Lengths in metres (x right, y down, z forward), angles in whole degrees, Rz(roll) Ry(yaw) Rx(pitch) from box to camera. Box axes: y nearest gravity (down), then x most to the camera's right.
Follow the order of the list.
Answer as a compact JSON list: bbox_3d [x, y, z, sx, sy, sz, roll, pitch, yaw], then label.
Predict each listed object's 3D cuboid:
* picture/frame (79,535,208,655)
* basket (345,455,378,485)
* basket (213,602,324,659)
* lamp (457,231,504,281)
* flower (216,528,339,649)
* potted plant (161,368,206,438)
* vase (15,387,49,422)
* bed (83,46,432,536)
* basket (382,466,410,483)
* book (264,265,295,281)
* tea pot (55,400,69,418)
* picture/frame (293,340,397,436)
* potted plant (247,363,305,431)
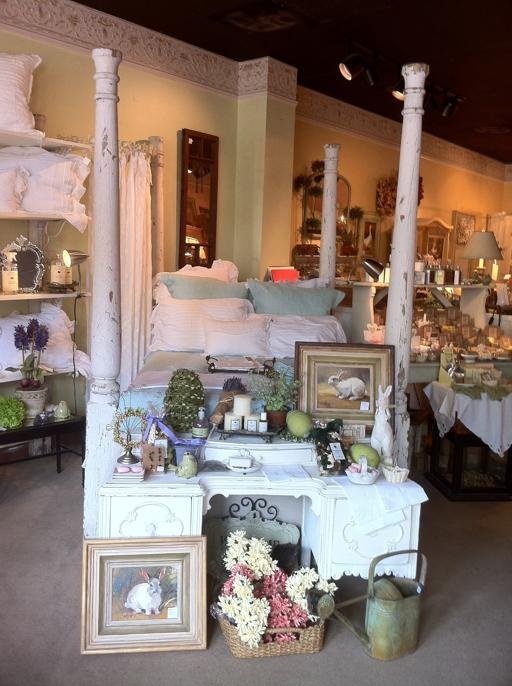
[{"bbox_3d":[-0.391,0.872,1.772,0.409,0.365,0.030,0,-5,-10],"label":"picture/frame"},{"bbox_3d":[0.395,0.484,1.973,0.107,0.074,0.106,0,2,-6],"label":"basket"},{"bbox_3d":[0.051,1.024,1.797,0.370,0.109,0.093,2,1,-3],"label":"basket"},{"bbox_3d":[2.076,-0.820,4.874,0.457,0.445,0.450,1,14,8],"label":"lamp"},{"bbox_3d":[0.046,0.893,1.836,0.372,0.368,0.240,7,-32,-17],"label":"flower"},{"bbox_3d":[-0.302,0.248,2.158,0.163,0.265,0.162,2,1,-8],"label":"potted plant"},{"bbox_3d":[-1.520,0.401,3.552,0.217,0.228,0.214,-1,7,-20],"label":"vase"},{"bbox_3d":[-0.158,-0.473,3.743,2.110,3.545,2.082,0,11,-5],"label":"bed"},{"bbox_3d":[0.533,0.502,2.020,0.069,0.032,0.068,1,-3,-5],"label":"basket"},{"bbox_3d":[0.237,-0.617,4.686,0.258,0.171,0.138,0,-1,-12],"label":"book"},{"bbox_3d":[-1.367,0.467,3.684,0.117,0.119,0.114,3,-2,0],"label":"tea pot"},{"bbox_3d":[0.383,0.211,2.322,0.420,0.381,0.030,4,-14,-7],"label":"picture/frame"},{"bbox_3d":[0.081,0.252,2.418,0.245,0.334,0.249,0,2,0],"label":"potted plant"}]
